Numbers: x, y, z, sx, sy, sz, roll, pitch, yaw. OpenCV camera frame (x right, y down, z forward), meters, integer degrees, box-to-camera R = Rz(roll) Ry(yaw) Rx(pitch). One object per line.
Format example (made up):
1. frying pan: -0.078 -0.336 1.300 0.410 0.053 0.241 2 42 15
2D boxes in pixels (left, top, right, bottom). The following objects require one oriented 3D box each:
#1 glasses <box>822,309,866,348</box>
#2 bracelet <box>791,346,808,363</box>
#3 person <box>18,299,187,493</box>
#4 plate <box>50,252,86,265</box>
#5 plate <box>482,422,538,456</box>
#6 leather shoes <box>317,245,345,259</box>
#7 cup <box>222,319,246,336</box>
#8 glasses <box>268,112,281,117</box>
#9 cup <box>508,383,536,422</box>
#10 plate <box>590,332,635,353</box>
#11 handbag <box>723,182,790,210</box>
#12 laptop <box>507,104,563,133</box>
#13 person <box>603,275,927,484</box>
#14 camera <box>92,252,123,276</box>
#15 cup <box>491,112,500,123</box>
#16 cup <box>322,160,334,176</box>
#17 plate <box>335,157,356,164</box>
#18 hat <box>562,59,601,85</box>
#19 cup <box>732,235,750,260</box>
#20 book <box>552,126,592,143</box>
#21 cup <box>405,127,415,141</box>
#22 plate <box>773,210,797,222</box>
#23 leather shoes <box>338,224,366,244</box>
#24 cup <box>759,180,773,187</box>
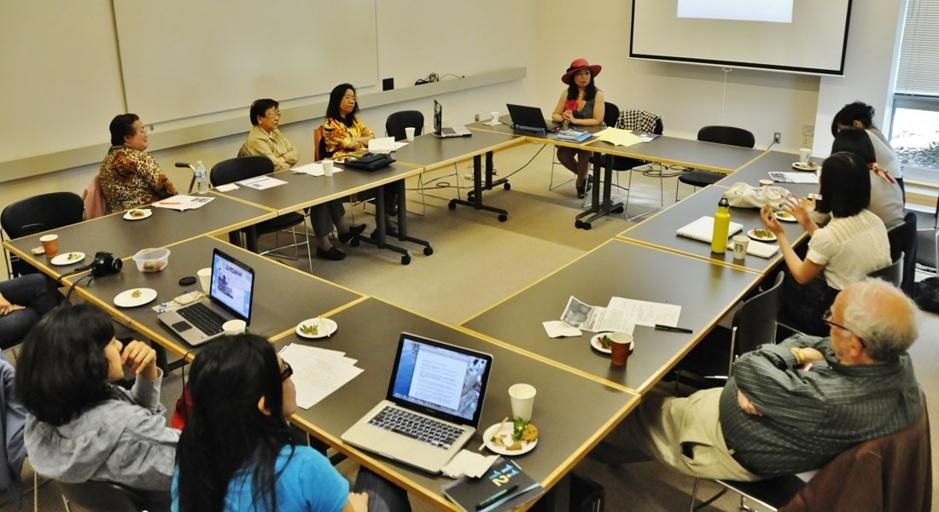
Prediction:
1. glasses: 2.129 0.413 3.412 0.181 0.051 0.177 12 37 -36
2. bracelet: 2.025 0.612 3.661 0.078 0.035 0.101 -20 52 -18
3. person: -2.073 0.830 3.302 0.804 1.021 0.522 -4 25 -13
4. plate: -3.204 0.021 4.715 0.253 0.058 0.167 1 23 -1
5. plate: 0.226 1.042 3.344 0.279 0.117 0.197 15 27 28
6. leather shoes: -1.539 -0.045 6.592 0.285 0.101 0.139 5 19 15
7. cup: -1.494 0.463 3.763 0.116 0.076 0.109 3 23 -1
8. glasses: -2.176 -1.565 6.532 0.076 0.034 0.059 11 22 24
9. cup: 0.301 0.845 3.478 0.206 0.144 0.200 0 15 0
10. plate: 0.862 0.570 3.859 0.181 0.027 0.169 -18 35 -15
11. handbag: 2.526 -0.537 5.268 0.420 0.128 0.421 14 26 41
12. laptop: 0.857 -1.738 7.329 0.527 0.317 0.470 18 35 41
13. person: 1.890 0.789 3.561 1.437 1.351 0.583 12 26 21
14. camera: -2.794 0.049 4.573 0.198 0.171 0.190 12 19 14
15. cup: 0.333 -1.781 7.571 0.126 0.124 0.120 -3 21 1
16. cup: -1.439 -0.900 6.020 0.152 0.113 0.143 -2 17 1
17. plate: -1.340 -1.038 6.386 0.178 0.029 0.126 14 30 34
18. hat: 1.413 -2.350 7.545 0.330 0.281 0.409 21 30 37
19. cup: 2.116 -0.059 4.587 0.152 0.177 0.081 -1 25 -7
20. book: 1.222 -1.442 7.050 0.303 0.074 0.333 15 30 33
21. cup: -0.706 -1.463 7.019 0.186 0.168 0.174 -2 20 1
22. plate: 2.721 -0.339 5.106 0.147 0.023 0.141 -26 47 -18
23. leather shoes: -1.359 -0.252 6.849 0.340 0.118 0.170 -29 30 -6
24. cup: 2.831 -0.698 5.633 0.084 0.083 0.101 -21 25 -37
